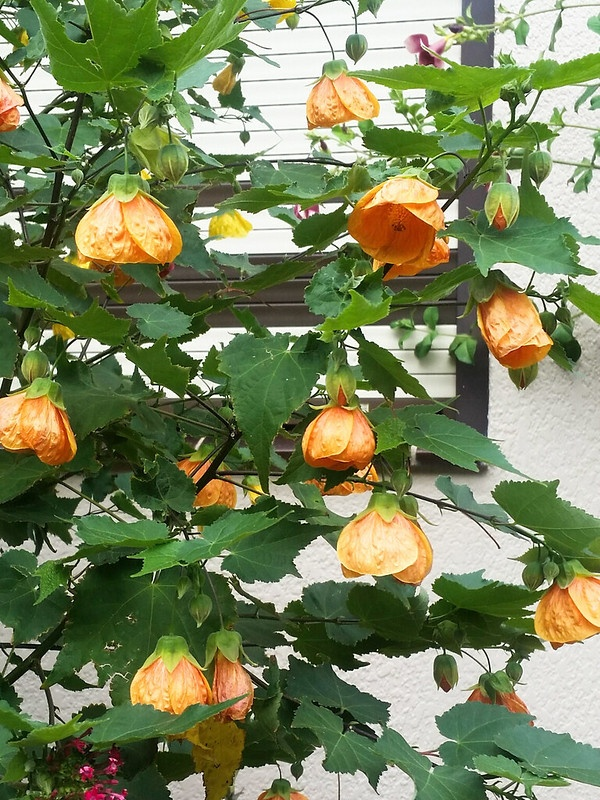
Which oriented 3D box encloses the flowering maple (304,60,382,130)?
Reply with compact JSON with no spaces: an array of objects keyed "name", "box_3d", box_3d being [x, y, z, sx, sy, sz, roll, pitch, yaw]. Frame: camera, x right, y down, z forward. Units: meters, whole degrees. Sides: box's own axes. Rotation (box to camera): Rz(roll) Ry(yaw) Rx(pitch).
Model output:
[{"name":"flowering maple","box_3d":[0.043,-0.313,0.793,0.072,0.064,0.086,0,33,-3]}]
